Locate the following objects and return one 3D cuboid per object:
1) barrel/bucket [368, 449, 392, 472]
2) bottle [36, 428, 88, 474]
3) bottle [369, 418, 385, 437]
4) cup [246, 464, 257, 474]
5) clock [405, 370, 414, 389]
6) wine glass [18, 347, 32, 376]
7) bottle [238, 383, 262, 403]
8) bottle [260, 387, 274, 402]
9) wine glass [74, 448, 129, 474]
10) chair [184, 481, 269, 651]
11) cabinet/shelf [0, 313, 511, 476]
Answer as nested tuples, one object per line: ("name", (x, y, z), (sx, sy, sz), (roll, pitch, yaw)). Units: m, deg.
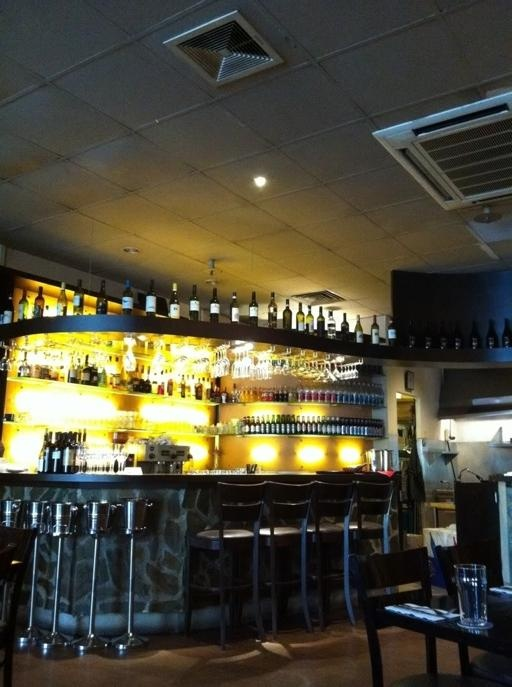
("barrel/bucket", (1.505, 1.420, 6.645), (0.263, 0.253, 0.301), (10, -16, -37))
("bottle", (-1.604, 0.884, 4.500), (0.348, 0.339, 0.995), (5, -12, -21))
("bottle", (1.732, 1.186, 7.923), (0.302, 0.292, 0.224), (3, -3, -15))
("cup", (-0.051, 1.460, 6.360), (0.129, 0.174, 0.178), (-2, -6, 3))
("clock", (2.423, 0.572, 8.596), (0.094, 0.275, 0.289), (-3, -6, 26))
("wine glass", (-2.350, 0.201, 5.536), (0.116, 0.281, 0.181), (5, -12, -21))
("bottle", (-0.081, 0.712, 7.764), (0.245, 0.456, 0.248), (-1, -6, 0))
("bottle", (0.151, 0.720, 7.592), (0.147, 0.159, 0.148), (1, -6, 15))
("wine glass", (-1.343, 1.033, 4.717), (0.364, 0.136, 0.290), (-10, -18, 36))
("chair", (-0.232, 1.537, 3.940), (0.570, 1.074, 1.011), (1, -11, -1))
("cabinet/shelf", (0.220, 0.642, 5.981), (4.800, 1.482, 4.596), (-5, -12, 23))
